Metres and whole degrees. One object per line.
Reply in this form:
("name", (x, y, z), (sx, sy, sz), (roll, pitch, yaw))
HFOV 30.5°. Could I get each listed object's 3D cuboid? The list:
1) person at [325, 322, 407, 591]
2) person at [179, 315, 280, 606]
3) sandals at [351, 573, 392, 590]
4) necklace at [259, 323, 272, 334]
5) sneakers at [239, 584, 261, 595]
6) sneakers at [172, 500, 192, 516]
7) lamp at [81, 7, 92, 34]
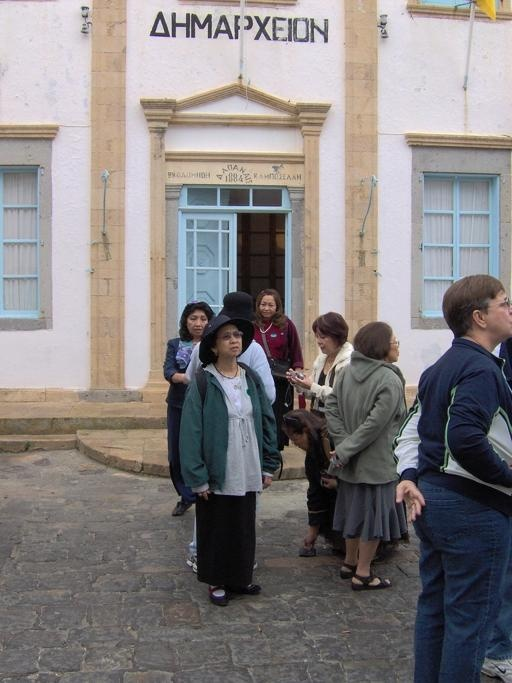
("person", (0.630, 0.672, 5.567), (0.479, 1.560, 0.392), (3, 7, 8))
("person", (-0.152, 0.623, 5.383), (0.452, 1.511, 0.581), (4, 7, 17))
("sandals", (0.676, 1.418, 5.537), (0.218, 0.075, 0.095), (-2, -1, -10))
("necklace", (0.081, -0.111, 8.096), (0.078, 0.084, 0.023), (-3, -9, 2))
("sneakers", (-0.032, 1.450, 5.457), (0.157, 0.056, 0.055), (-3, 3, -30))
("sneakers", (-0.559, 1.245, 6.963), (0.069, 0.069, 0.186), (1, 1, 31))
("lamp", (-1.879, -3.527, 10.324), (0.127, 0.300, 0.080), (1, 7, -7))
